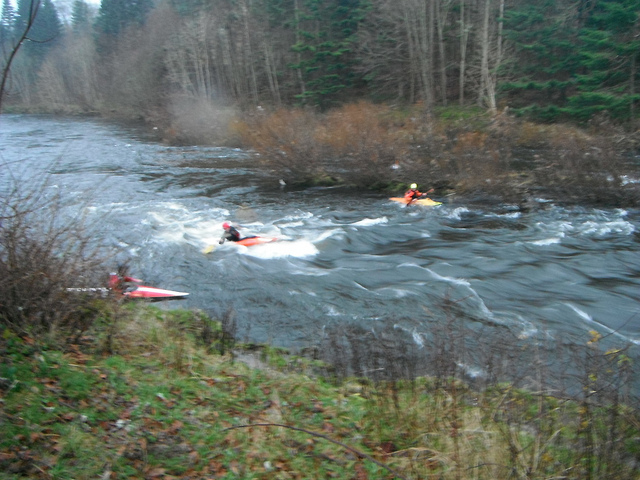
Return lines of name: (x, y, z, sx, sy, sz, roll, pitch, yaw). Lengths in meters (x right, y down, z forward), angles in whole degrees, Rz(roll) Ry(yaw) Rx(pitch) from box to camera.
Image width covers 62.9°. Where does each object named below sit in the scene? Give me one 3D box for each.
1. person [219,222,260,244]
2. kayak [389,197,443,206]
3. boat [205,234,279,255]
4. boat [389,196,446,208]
person: (-2.764, -0.203, 17.576, 1.215, 0.333, 0.697, 7, 22, 23)
kayak: (4.178, -1.605, 22.478, 1.488, 0.132, 0.604, 8, 28, 29)
boat: (-2.620, 0.151, 17.657, 2.568, 0.218, 0.687, -8, 18, -6)
boat: (4.103, -1.573, 22.385, 1.836, 0.185, 0.748, 1, 14, 18)
